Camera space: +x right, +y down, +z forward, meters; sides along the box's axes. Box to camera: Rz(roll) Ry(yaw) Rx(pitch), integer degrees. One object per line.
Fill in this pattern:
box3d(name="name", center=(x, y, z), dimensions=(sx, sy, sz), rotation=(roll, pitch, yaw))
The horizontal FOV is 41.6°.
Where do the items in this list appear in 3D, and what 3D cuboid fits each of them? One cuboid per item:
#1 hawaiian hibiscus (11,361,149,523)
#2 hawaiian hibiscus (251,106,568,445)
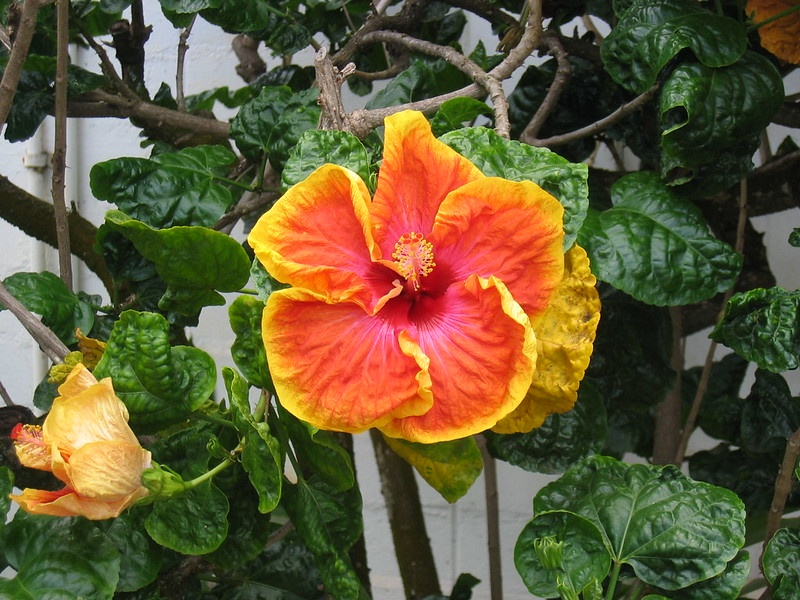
box3d(name="hawaiian hibiscus", center=(-0.481, 0.213, 1.707), dimensions=(0.224, 0.157, 0.110), rotation=(46, 114, 42))
box3d(name="hawaiian hibiscus", center=(0.017, -0.010, 1.632), dimensions=(0.463, 0.535, 0.237), rotation=(5, 0, 10))
